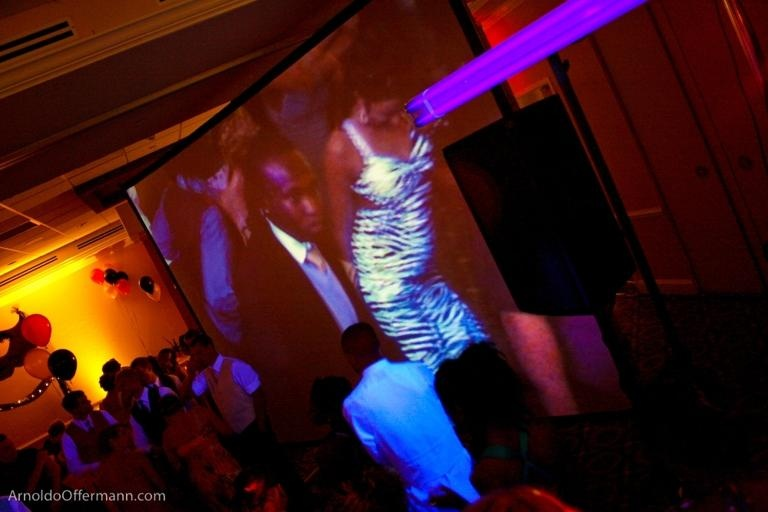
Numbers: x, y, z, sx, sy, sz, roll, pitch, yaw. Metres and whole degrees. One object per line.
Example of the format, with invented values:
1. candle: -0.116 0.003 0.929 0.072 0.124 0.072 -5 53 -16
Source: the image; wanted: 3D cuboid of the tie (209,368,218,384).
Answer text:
1. tie: -1.620 1.132 5.502 0.122 0.119 0.048 1 3 42
